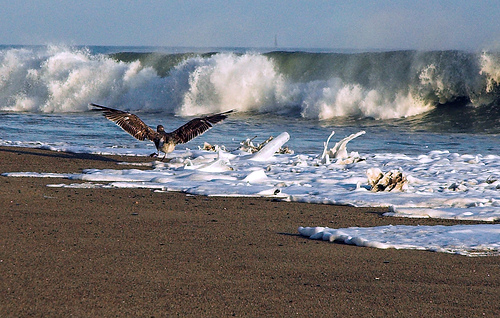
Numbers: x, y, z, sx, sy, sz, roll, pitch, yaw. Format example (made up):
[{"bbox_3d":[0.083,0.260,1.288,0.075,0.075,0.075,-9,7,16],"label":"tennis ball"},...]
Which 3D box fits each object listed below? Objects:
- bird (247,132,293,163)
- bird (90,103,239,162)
[{"bbox_3d":[0.591,-0.315,21.990,0.347,0.428,1.484,-31,-13,35],"label":"bird"},{"bbox_3d":[-2.216,-0.714,19.052,2.808,1.146,0.749,-1,8,-5],"label":"bird"}]
